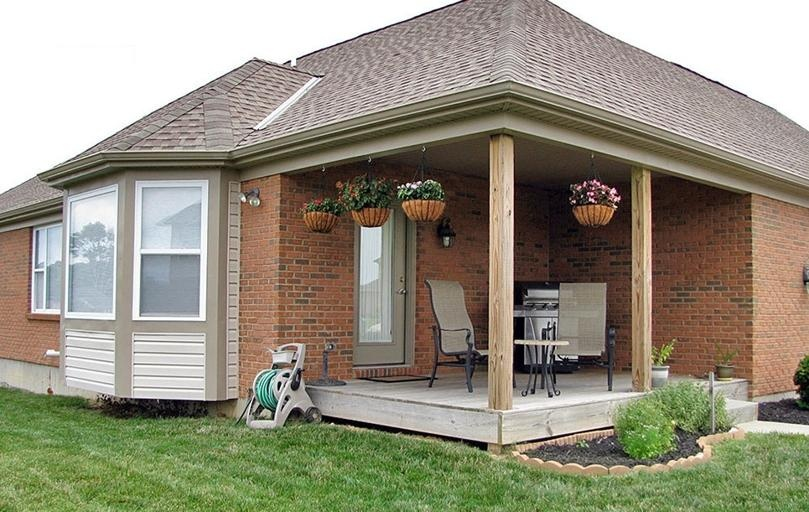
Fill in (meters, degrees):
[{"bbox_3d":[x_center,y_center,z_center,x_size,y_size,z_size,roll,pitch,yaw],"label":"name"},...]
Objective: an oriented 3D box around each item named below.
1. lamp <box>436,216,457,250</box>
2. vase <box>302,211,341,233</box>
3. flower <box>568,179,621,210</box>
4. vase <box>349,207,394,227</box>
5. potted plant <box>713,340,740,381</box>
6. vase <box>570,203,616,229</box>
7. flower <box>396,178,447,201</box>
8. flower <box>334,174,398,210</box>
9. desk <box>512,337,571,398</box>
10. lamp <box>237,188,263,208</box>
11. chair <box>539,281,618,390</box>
[{"bbox_3d":[0.820,-0.449,13.771,0.426,0.637,0.220,-4,12,-17],"label":"lamp"},{"bbox_3d":[-1.422,-0.575,11.770,0.416,0.204,0.423,-8,-11,40],"label":"vase"},{"bbox_3d":[3.143,-1.014,11.646,0.856,0.450,0.851,-1,-3,26],"label":"flower"},{"bbox_3d":[-0.547,-0.629,11.337,0.404,0.162,0.405,-4,-7,29],"label":"vase"},{"bbox_3d":[6.159,2.078,13.486,0.631,0.735,0.574,1,-7,8],"label":"potted plant"},{"bbox_3d":[3.095,-0.599,11.563,0.519,0.207,0.521,-5,-8,30],"label":"vase"},{"bbox_3d":[0.256,-0.999,10.776,0.519,0.230,0.517,0,1,25],"label":"flower"},{"bbox_3d":[-0.668,-1.023,11.456,0.826,0.441,0.837,-3,-4,43],"label":"flower"},{"bbox_3d":[2.348,1.700,11.866,0.706,0.591,0.674,-8,13,37],"label":"desk"},{"bbox_3d":[-2.678,-1.000,12.248,0.267,0.408,0.434,-9,-13,42],"label":"lamp"},{"bbox_3d":[3.018,1.365,11.993,1.156,1.727,0.821,0,-2,19],"label":"chair"}]
